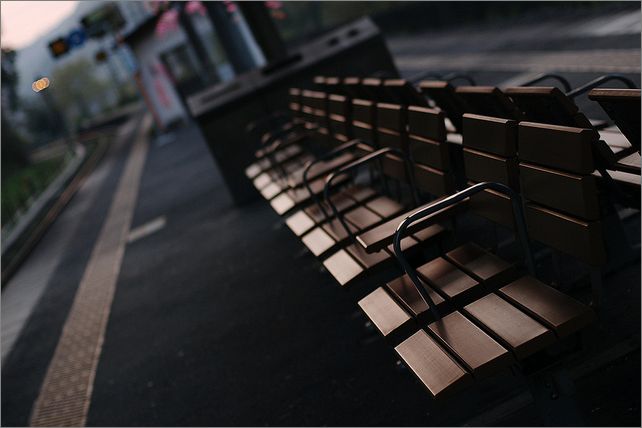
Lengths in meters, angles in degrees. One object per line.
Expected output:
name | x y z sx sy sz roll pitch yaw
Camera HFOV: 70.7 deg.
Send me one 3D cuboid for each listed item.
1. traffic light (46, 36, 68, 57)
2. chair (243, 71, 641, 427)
traffic light | -7.647 -4.884 13.140 0.555 0.550 0.347 -14 19 -29
chair | 0.892 0.248 3.116 1.495 1.562 2.108 -26 27 -5
